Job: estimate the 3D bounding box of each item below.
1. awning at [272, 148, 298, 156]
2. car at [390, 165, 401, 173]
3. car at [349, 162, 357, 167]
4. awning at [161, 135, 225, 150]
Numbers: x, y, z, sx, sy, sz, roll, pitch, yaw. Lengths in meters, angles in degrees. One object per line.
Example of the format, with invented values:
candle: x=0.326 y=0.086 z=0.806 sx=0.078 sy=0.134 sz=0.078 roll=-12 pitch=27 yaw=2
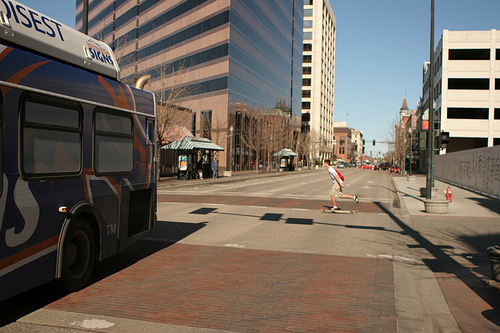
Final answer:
awning: x=6.258 y=-2.762 z=66.205 sx=2.487 sy=1.146 sz=4.819 roll=1 pitch=2 yaw=34
car: x=34.947 y=0.769 z=90.201 sx=1.982 sy=1.196 sz=3.629 roll=6 pitch=13 yaw=32
car: x=48.966 y=-1.583 z=179.046 sx=1.958 sy=2.967 sz=7.355 roll=-5 pitch=1 yaw=14
awning: x=-5.801 y=-2.471 z=37.466 sx=3.201 sy=1.337 sz=4.793 roll=1 pitch=2 yaw=22
